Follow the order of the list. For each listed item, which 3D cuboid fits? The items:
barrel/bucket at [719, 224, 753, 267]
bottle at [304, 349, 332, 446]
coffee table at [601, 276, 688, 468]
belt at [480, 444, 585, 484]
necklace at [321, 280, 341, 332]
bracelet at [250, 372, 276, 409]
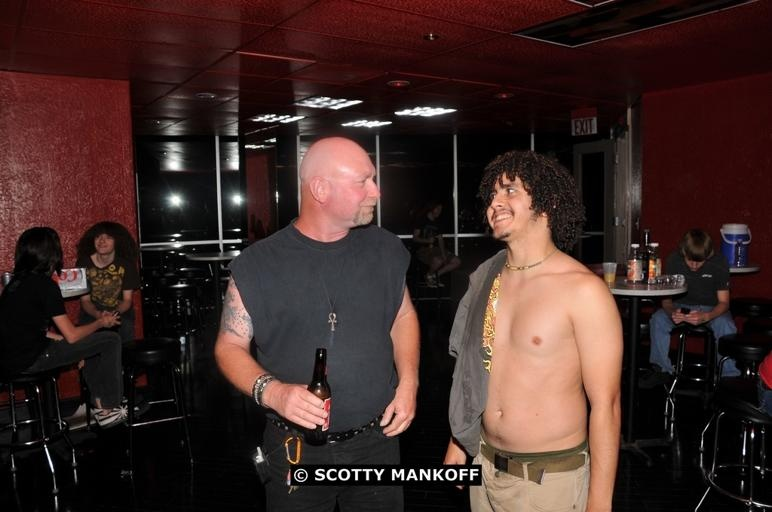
[{"bbox_3d":[4.211,-0.149,6.915,0.393,0.504,0.348,-1,3,-36],"label":"barrel/bucket"},{"bbox_3d":[-0.360,0.740,2.962,0.148,0.549,0.234,-3,15,-6],"label":"bottle"},{"bbox_3d":[2.155,0.777,4.986,0.793,0.930,0.746,7,-1,16],"label":"coffee table"},{"bbox_3d":[0.812,1.078,2.970,0.468,0.167,0.105,0,14,4],"label":"belt"},{"bbox_3d":[-0.299,0.269,3.073,0.053,0.262,0.099,-7,16,-23],"label":"necklace"},{"bbox_3d":[-0.620,0.683,2.921,0.060,0.144,0.120,17,-46,-25],"label":"bracelet"}]
